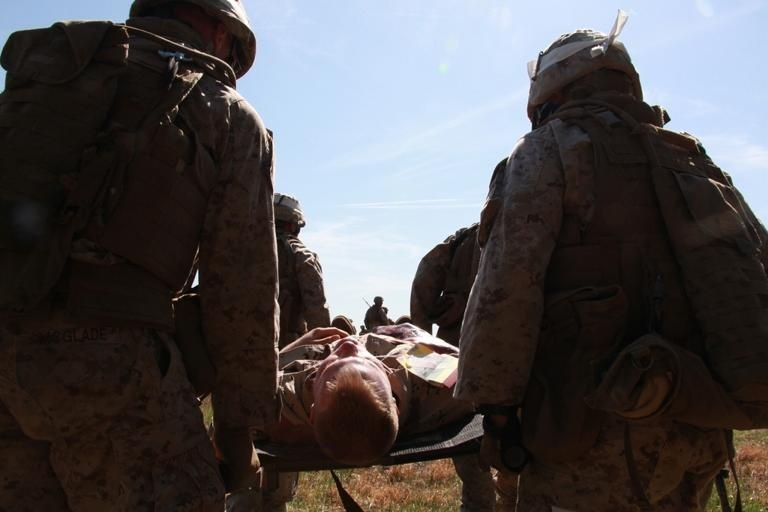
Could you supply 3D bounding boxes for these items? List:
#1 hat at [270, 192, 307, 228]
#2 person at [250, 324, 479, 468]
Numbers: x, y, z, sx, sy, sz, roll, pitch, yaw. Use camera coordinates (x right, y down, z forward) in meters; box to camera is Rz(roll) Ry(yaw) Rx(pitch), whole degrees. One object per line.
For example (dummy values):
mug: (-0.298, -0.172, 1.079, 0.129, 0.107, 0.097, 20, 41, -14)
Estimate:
hat: (-1.098, -0.457, 6.971, 0.325, 0.427, 0.454, 5, -10, 31)
person: (-0.097, 0.735, 3.166, 0.936, 0.460, 1.211, -6, -16, 2)
